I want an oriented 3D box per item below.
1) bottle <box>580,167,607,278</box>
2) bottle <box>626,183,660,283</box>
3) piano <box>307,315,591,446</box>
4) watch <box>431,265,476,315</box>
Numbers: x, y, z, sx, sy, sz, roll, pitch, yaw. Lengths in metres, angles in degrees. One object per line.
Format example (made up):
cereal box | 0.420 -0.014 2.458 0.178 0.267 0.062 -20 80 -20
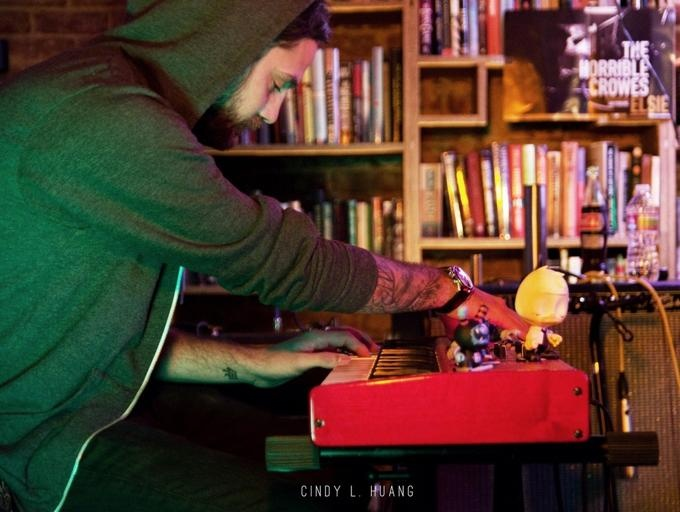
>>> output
bottle | 0.819 -0.125 2.681 0.094 0.332 0.477 2 6 16
bottle | 1.008 -0.085 2.768 0.113 0.302 0.269 2 7 19
piano | 0.234 0.288 1.836 0.578 0.185 0.292 0 6 2
watch | 0.277 0.070 1.994 0.063 0.109 0.092 28 18 -26
